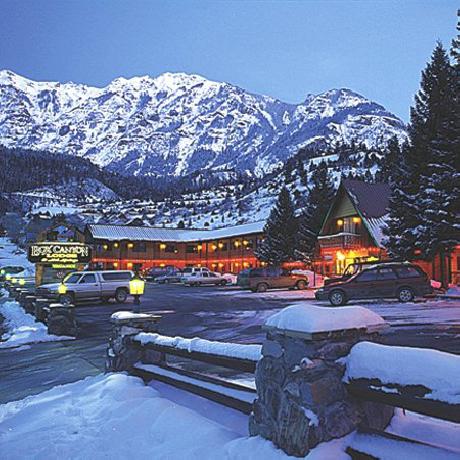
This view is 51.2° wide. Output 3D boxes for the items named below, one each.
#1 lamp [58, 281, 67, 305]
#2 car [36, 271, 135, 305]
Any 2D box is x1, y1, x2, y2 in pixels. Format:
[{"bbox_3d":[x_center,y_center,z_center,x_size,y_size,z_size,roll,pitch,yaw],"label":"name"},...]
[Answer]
[{"bbox_3d":[-7.712,2.897,22.545,0.373,0.995,2.390,-2,-4,-19],"label":"lamp"},{"bbox_3d":[-6.889,2.854,23.988,3.592,1.538,1.870,8,-12,-42],"label":"car"}]
